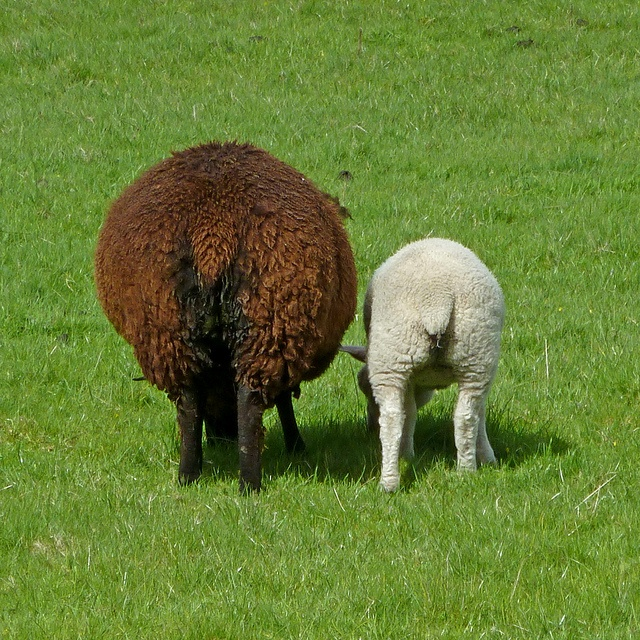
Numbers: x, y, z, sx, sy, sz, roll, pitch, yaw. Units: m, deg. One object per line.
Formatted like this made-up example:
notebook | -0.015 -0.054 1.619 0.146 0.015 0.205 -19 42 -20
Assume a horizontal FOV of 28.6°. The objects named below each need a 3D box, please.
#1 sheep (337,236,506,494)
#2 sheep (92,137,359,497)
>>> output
sheep | 0.753 0.366 8.594 0.954 1.586 1.233 -2 32 -1
sheep | -0.478 -0.249 9.361 1.363 2.563 3.051 5 8 6
